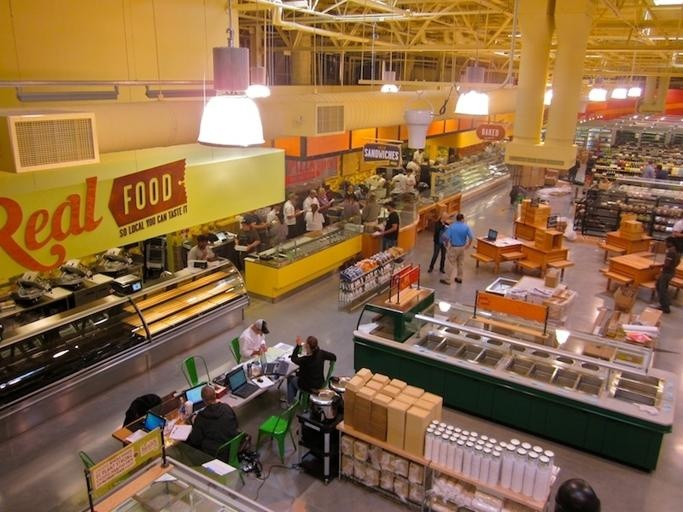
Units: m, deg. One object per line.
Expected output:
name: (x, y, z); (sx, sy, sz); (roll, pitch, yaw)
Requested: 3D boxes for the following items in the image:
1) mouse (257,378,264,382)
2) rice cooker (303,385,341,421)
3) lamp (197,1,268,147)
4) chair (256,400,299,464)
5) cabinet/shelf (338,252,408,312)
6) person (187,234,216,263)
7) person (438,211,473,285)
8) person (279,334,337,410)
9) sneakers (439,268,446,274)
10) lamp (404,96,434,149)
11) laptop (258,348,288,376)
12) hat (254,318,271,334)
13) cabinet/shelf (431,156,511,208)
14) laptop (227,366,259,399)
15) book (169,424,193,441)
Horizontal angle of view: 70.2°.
mouse: (-1.214, 1.872, 7.276); (0.041, 0.043, 0.076); (4, -18, 16)
rice cooker: (-0.275, 1.969, 6.430); (0.532, 0.364, 0.407); (7, 11, 31)
lamp: (-0.803, -1.256, 3.472); (0.463, 0.921, 0.568); (-1, 17, -4)
chair: (-0.883, 2.354, 6.653); (0.486, 0.775, 0.465); (14, 16, 33)
cabinet/shelf: (0.766, 0.524, 11.777); (0.546, 0.986, 2.786); (15, 18, 26)
person: (-3.124, -0.144, 10.865); (0.390, 0.742, 0.384); (13, 33, 18)
person: (2.879, -0.214, 12.141); (0.675, 1.788, 0.800); (5, 18, 14)
person: (-0.501, 1.826, 7.350); (0.604, 1.180, 0.575); (11, 7, 15)
sneakers: (2.670, 0.415, 12.865); (0.147, 0.143, 0.068); (0, 50, 6)
lamp: (1.627, -2.869, 10.429); (0.866, 1.047, 0.618); (7, 17, 17)
laptop: (-1.090, 1.698, 7.649); (0.375, 0.113, 0.379); (1, 34, 1)
hat: (-1.299, 1.144, 7.875); (0.265, 0.148, 0.197); (29, 36, 17)
cabinet/shelf: (5.439, -3.126, 20.507); (5.800, 1.316, 0.901); (-23, 0, -42)
laptop: (-1.365, 1.809, 7.014); (0.403, 0.303, 0.500); (-3, 6, 7)
book: (-2.055, 2.265, 6.200); (0.162, 0.041, 0.178); (3, 22, 0)
